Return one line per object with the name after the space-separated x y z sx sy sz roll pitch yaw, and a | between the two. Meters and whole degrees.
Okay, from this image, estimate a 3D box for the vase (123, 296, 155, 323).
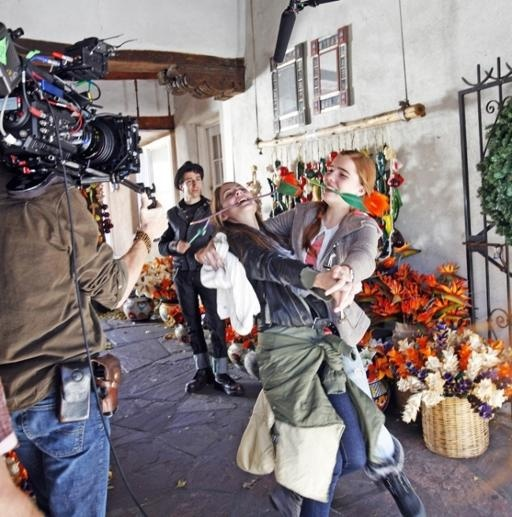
-1.374 0.602 5.658 0.331 0.200 0.313 1 -3 -7 | vase

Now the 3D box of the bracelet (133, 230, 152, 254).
-0.360 -0.053 1.540 0.029 0.071 0.066 -26 1 -18 | bracelet

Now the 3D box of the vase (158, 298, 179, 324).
-0.897 0.550 5.008 0.292 0.209 0.261 0 1 -2 | vase

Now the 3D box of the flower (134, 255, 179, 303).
-0.920 0.212 4.502 0.384 0.361 0.364 -22 24 5 | flower

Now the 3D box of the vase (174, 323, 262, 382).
-0.342 0.704 3.568 0.709 0.268 0.393 12 12 4 | vase

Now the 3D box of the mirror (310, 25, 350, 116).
0.612 -1.533 3.993 0.047 0.582 0.498 -9 14 -22 | mirror

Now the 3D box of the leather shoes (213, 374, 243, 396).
-0.188 0.881 3.355 0.089 0.093 0.254 -8 1 -32 | leather shoes

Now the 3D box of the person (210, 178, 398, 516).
0.134 0.413 1.724 0.667 1.388 0.375 3 11 44 | person

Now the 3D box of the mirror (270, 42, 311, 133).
0.309 -1.547 4.513 0.127 0.739 0.592 -8 8 -20 | mirror

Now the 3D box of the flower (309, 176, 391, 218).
0.386 -0.239 1.915 0.384 0.105 0.099 12 -25 -25 | flower

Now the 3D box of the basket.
1.015 0.837 2.513 0.319 0.290 0.310 -2 -3 22 | basket
